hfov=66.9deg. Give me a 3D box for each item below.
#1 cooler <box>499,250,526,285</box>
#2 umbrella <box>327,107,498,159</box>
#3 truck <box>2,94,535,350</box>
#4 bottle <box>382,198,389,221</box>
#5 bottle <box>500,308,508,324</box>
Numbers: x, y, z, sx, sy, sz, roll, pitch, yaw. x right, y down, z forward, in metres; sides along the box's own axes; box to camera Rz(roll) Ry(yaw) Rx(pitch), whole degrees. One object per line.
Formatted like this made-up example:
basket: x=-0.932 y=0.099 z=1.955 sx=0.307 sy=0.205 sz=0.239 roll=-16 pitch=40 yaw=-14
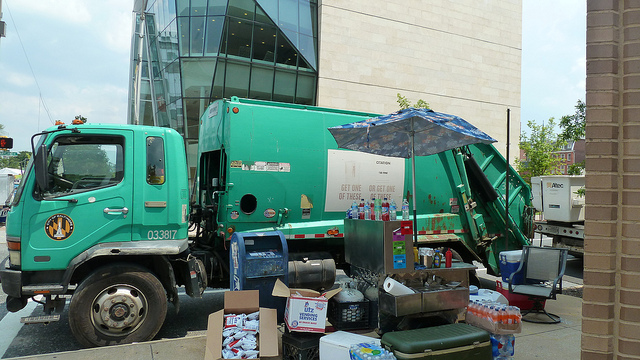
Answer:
cooler: x=4.567 y=2.069 z=11.497 sx=0.759 sy=0.674 sz=0.539 roll=2 pitch=-3 yaw=-23
umbrella: x=1.840 y=-1.020 z=10.419 sx=1.947 sy=0.630 sz=1.971 roll=7 pitch=-12 yaw=4
truck: x=-0.109 y=0.884 z=13.286 sx=14.242 sy=5.367 sz=5.386 roll=1 pitch=-5 yaw=-22
bottle: x=1.272 y=0.584 z=9.260 sx=0.133 sy=0.374 sz=0.288 roll=-3 pitch=2 yaw=7
bottle: x=3.479 y=2.564 z=9.071 sx=0.117 sy=0.268 sz=0.072 roll=-3 pitch=2 yaw=-12
